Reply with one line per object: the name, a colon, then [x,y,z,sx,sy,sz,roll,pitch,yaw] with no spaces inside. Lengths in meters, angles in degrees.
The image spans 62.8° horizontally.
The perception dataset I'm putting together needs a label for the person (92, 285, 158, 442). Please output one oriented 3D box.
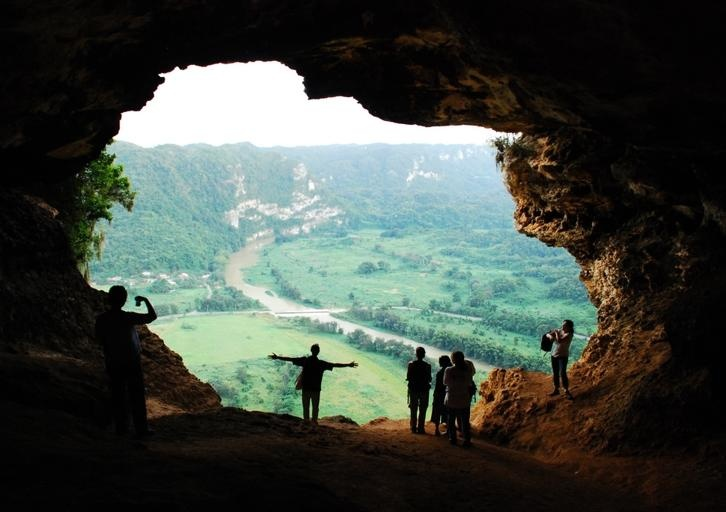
person: [-4.111,1.819,10.277,1.155,2.558,1.471,10,0,-19]
